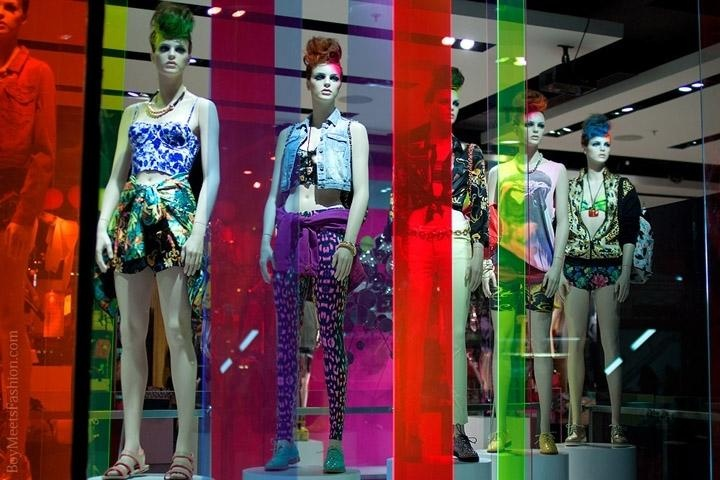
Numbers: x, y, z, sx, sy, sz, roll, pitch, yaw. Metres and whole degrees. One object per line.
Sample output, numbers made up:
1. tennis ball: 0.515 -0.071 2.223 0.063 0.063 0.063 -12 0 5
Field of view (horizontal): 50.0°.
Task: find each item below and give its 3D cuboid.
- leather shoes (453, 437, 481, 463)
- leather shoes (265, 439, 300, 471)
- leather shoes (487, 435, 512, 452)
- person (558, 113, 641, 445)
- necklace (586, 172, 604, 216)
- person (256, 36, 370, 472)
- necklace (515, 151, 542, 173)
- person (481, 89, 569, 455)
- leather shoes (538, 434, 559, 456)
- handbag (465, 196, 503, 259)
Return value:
1. leather shoes: 0.431 0.847 3.108 0.056 0.064 0.153 1 2 -9
2. leather shoes: -0.273 0.781 2.780 0.056 0.083 0.160 -6 -12 26
3. leather shoes: 0.560 0.822 3.106 0.030 0.075 0.110 9 -14 -38
4. person: 1.052 0.153 3.350 0.376 1.420 0.120 3 -11 -13
5. necklace: 1.036 -0.185 3.400 0.078 0.146 0.049 -3 10 2
6. person: -0.167 0.028 2.916 0.411 1.662 0.184 2 -11 -8
7. necklace: 0.719 -0.324 3.262 0.072 0.102 0.036 7 -30 -4
8. person: 0.702 0.117 3.256 0.237 1.526 0.342 -10 -15 43
9. leather shoes: 0.762 0.835 3.144 0.046 0.053 0.117 1 -3 6
10. handbag: 0.533 -0.063 3.339 0.228 0.218 0.200 -1 -4 38
